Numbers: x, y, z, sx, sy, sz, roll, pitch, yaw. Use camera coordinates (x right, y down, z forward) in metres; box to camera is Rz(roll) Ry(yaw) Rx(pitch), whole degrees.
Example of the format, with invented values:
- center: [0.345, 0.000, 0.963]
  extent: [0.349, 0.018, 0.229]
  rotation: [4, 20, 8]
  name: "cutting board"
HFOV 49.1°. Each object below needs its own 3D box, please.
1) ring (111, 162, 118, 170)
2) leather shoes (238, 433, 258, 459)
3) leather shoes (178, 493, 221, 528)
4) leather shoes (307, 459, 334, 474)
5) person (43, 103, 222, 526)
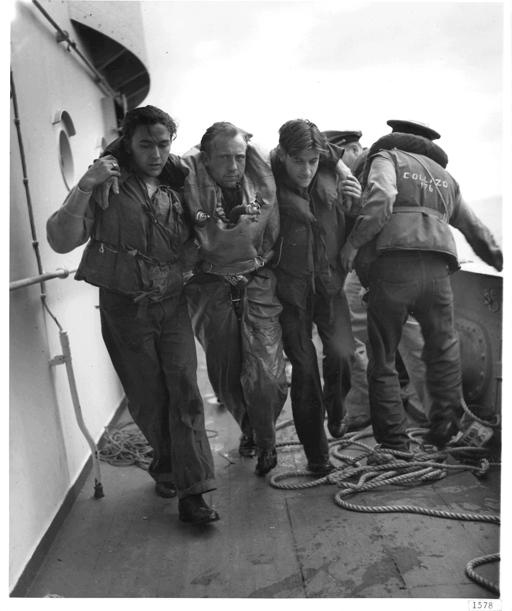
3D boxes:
- center: [-0.500, -0.493, 1.977]
  extent: [0.016, 0.024, 0.022]
  rotation: [-3, -16, -8]
  name: "ring"
- center: [-0.042, 0.751, 2.967]
  extent: [0.084, 0.186, 0.131]
  rotation: [-5, -29, 1]
  name: "leather shoes"
- center: [-0.229, 0.777, 2.104]
  extent: [0.190, 0.163, 0.075]
  rotation: [-11, -9, 32]
  name: "leather shoes"
- center: [0.286, 0.735, 2.551]
  extent: [0.122, 0.064, 0.051]
  rotation: [-4, 1, 1]
  name: "leather shoes"
- center: [-0.442, 0.058, 2.150]
  extent: [0.469, 1.596, 0.547]
  rotation: [-5, 12, -13]
  name: "person"
